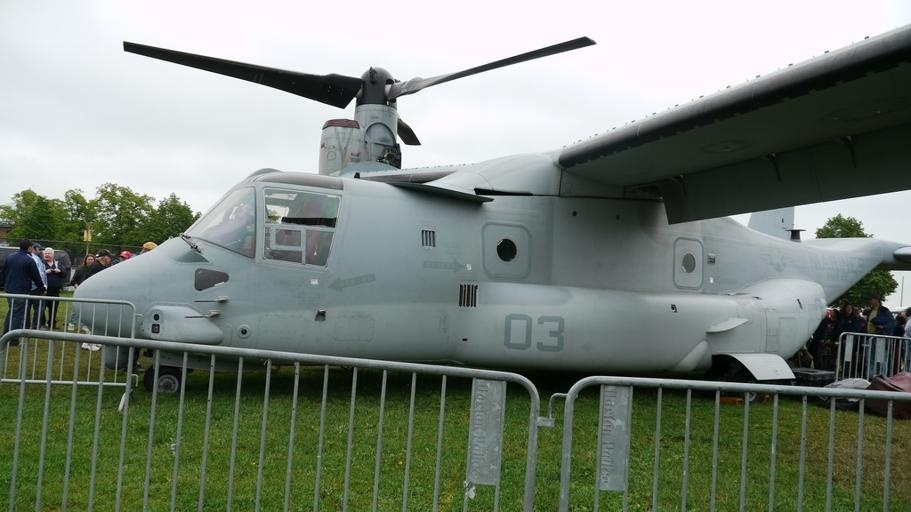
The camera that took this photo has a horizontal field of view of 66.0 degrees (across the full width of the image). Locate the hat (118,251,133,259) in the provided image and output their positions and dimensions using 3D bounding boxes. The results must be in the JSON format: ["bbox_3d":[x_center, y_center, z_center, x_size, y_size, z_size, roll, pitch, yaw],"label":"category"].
[{"bbox_3d":[-10.066,-0.058,21.371,0.346,0.238,0.444,3,0,-34],"label":"hat"}]

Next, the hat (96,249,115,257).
[{"bbox_3d":[-11.973,-0.116,24.034,0.367,0.243,0.510,8,14,29],"label":"hat"}]
